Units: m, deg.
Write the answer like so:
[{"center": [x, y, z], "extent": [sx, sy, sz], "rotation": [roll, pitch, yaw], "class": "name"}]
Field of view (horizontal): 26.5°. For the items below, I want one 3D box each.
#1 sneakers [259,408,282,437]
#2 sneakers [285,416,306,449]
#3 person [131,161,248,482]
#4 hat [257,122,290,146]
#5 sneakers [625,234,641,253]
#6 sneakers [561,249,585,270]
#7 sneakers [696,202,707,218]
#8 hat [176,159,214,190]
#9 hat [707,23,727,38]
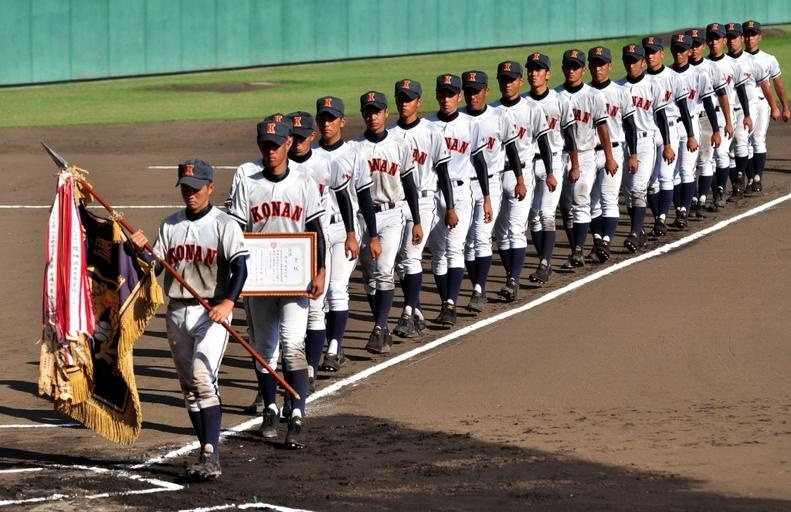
[{"center": [-1.573, 2.007, 20.844], "extent": [0.246, 0.358, 0.272], "rotation": [-3, 10, -5], "class": "sneakers"}, {"center": [-1.247, 2.098, 20.557], "extent": [0.244, 0.378, 0.260], "rotation": [-3, 10, -4], "class": "sneakers"}, {"center": [-2.367, 0.680, 20.200], "extent": [1.170, 3.686, 1.262], "rotation": [-4, 10, -8], "class": "person"}, {"center": [-1.512, -1.544, 20.653], "extent": [0.388, 0.300, 0.248], "rotation": [-3, 10, -4], "class": "hat"}, {"center": [3.708, -0.216, 26.198], "extent": [0.214, 0.160, 0.382], "rotation": [-34, -28, -3], "class": "sneakers"}, {"center": [2.729, 0.032, 25.643], "extent": [0.202, 0.192, 0.474], "rotation": [8, -5, 10], "class": "sneakers"}, {"center": [5.092, -0.808, 28.024], "extent": [0.273, 0.260, 0.651], "rotation": [-1, -4, 7], "class": "sneakers"}, {"center": [-2.388, -1.023, 20.257], "extent": [0.354, 0.217, 0.440], "rotation": [2, 4, 7], "class": "hat"}, {"center": [5.403, -3.833, 28.385], "extent": [0.274, 0.177, 0.360], "rotation": [3, -10, 17], "class": "hat"}]
